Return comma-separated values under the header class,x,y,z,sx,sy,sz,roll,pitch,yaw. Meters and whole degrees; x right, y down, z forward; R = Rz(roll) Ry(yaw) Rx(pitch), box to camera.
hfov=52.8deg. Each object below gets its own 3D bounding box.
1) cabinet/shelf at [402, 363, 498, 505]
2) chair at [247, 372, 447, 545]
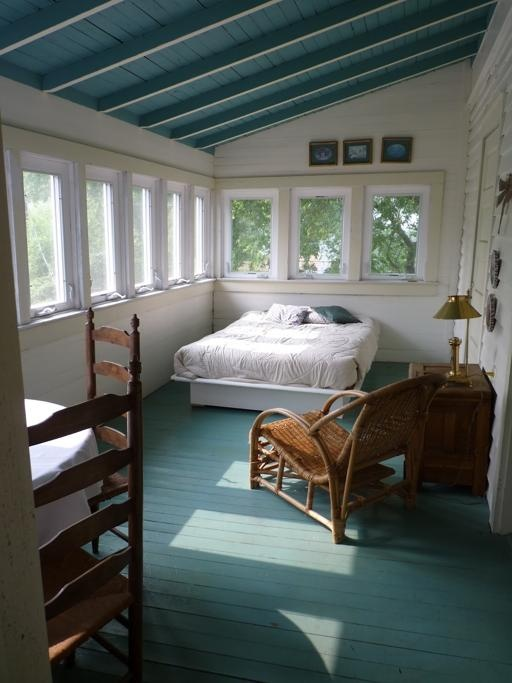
class,x,y,z,sx,sy,sz,roll,pitch,yaw
cabinet/shelf,1.196,0.454,3.311,0.589,0.883,1.093,3,5,25
chair,0.541,0.506,2.890,0.706,0.817,1.020,-8,14,-30
